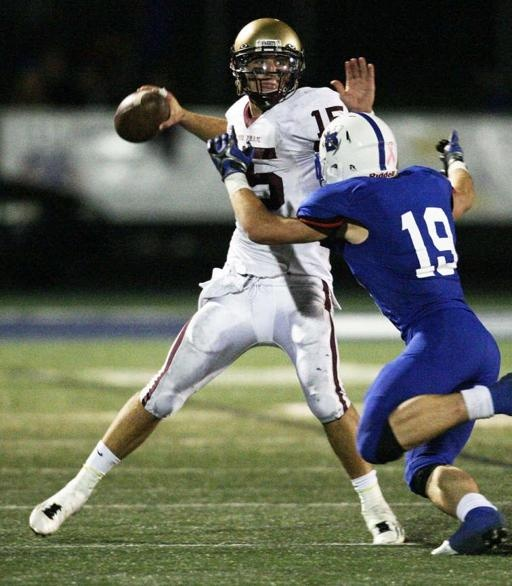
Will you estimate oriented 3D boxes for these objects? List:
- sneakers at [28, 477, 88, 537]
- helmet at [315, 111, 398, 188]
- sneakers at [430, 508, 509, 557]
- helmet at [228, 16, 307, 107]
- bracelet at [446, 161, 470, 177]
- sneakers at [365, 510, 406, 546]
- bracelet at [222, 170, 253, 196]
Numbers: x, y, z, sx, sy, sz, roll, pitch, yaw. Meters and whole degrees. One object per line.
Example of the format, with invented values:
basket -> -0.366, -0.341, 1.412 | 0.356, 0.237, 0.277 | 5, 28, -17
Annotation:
sneakers -> -0.612, 0.666, 2.406 | 0.087, 0.060, 0.259 | 11, 11, 23
helmet -> 0.310, -0.435, 2.382 | 0.263, 0.198, 0.283 | -2, 6, -25
sneakers -> 0.512, 0.632, 2.058 | 0.243, 0.082, 0.098 | -35, 18, 51
helmet -> 0.044, -0.801, 2.748 | 0.360, 0.274, 0.352 | 0, 6, 0
bracelet -> 0.736, -0.453, 2.840 | 0.082, 0.040, 0.074 | -4, -11, 27
sneakers -> 0.397, 0.710, 2.336 | 0.063, 0.045, 0.139 | -4, -4, 1
bracelet -> -0.065, -0.350, 2.560 | 0.089, 0.082, 0.084 | -33, -2, -5
